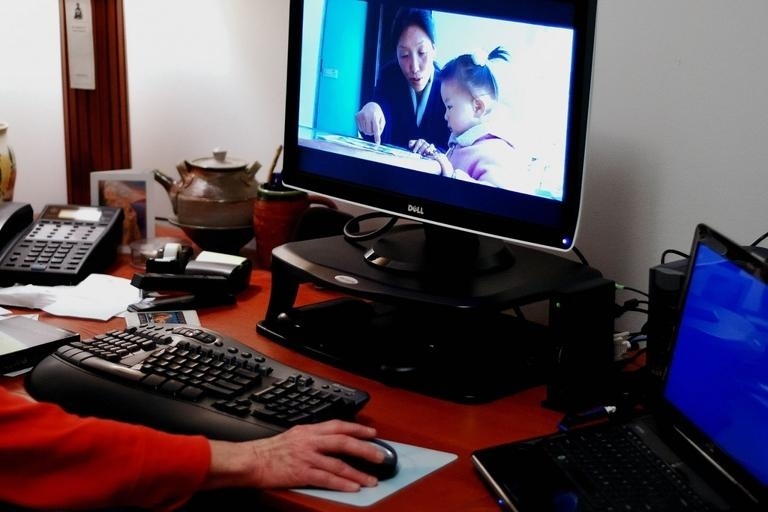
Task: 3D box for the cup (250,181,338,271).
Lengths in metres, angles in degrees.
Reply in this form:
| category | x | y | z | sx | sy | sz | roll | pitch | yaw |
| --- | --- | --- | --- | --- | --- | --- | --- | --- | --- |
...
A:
| category | x | y | z | sx | sy | sz | roll | pitch | yaw |
| --- | --- | --- | --- | --- | --- | --- | --- | --- | --- |
| cup | -0.267 | -0.115 | 1.695 | 0.224 | 0.228 | 0.228 | 1 | 21 | 0 |

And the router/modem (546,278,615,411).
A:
| category | x | y | z | sx | sy | sz | roll | pitch | yaw |
| --- | --- | --- | --- | --- | --- | --- | --- | --- | --- |
| router/modem | 0.346 | 0.171 | 1.133 | 0.123 | 0.220 | 0.149 | 10 | 23 | 14 |

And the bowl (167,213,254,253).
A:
| category | x | y | z | sx | sy | sz | roll | pitch | yaw |
| --- | --- | --- | --- | --- | --- | --- | --- | --- | --- |
| bowl | -0.470 | -0.093 | 1.707 | 0.189 | 0.115 | 0.230 | 11 | 22 | 27 |

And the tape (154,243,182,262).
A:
| category | x | y | z | sx | sy | sz | roll | pitch | yaw |
| --- | --- | --- | --- | --- | --- | --- | --- | --- | --- |
| tape | -0.537 | -0.008 | 1.452 | 0.046 | 0.029 | 0.063 | -4 | 19 | 5 |

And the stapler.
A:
| category | x | y | z | sx | sy | sz | roll | pitch | yaw |
| --- | --- | --- | --- | --- | --- | --- | --- | --- | --- |
| stapler | -0.494 | 0.081 | 1.444 | 0.239 | 0.079 | 0.067 | -3 | 8 | -25 |

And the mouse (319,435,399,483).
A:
| category | x | y | z | sx | sy | sz | roll | pitch | yaw |
| --- | --- | --- | --- | --- | --- | --- | --- | --- | --- |
| mouse | -0.026 | 0.320 | 0.929 | 0.092 | 0.029 | 0.053 | 14 | 26 | 22 |
